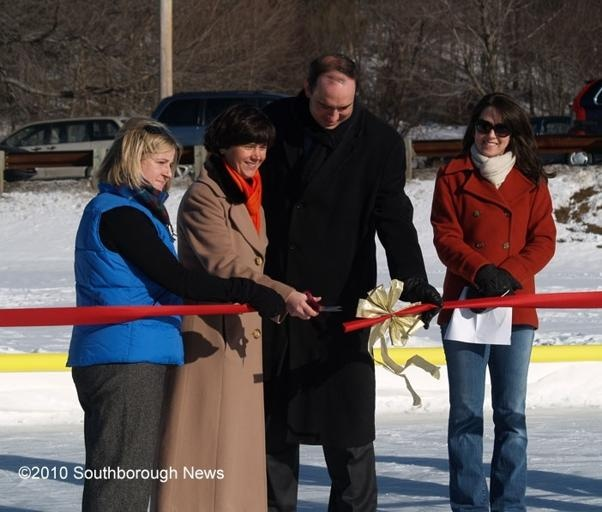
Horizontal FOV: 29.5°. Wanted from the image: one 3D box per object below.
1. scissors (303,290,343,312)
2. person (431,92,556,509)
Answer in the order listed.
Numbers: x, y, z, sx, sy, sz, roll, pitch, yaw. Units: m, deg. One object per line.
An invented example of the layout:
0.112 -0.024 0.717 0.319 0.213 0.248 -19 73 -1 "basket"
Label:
0.124 0.268 6.601 0.198 0.141 0.285 1 4 4 "scissors"
1.167 0.283 7.089 0.765 2.612 0.488 1 4 10 "person"
